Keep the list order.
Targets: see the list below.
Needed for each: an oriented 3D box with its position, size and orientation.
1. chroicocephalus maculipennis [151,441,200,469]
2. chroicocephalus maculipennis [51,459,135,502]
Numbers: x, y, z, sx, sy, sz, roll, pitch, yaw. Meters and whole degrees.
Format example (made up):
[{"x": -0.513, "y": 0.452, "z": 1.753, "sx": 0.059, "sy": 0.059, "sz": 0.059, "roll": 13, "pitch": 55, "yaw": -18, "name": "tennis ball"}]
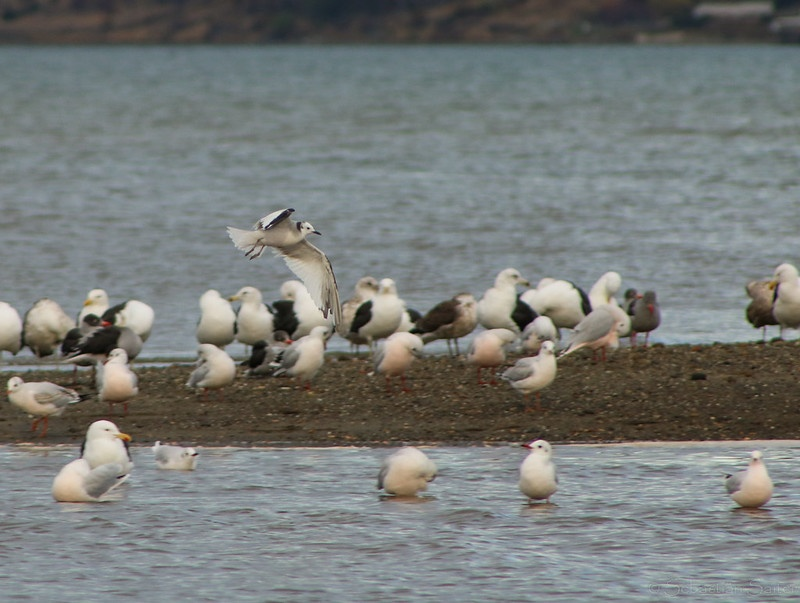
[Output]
[{"x": -4.495, "y": 3.201, "z": 35.528, "sx": 0.899, "sy": 0.707, "sz": 0.580, "roll": 4, "pitch": 60, "yaw": 2, "name": "chroicocephalus maculipennis"}, {"x": -6.026, "y": 3.562, "z": 34.300, "sx": 1.155, "sy": 0.480, "sz": 1.045, "roll": 14, "pitch": 56, "yaw": 10, "name": "chroicocephalus maculipennis"}]
